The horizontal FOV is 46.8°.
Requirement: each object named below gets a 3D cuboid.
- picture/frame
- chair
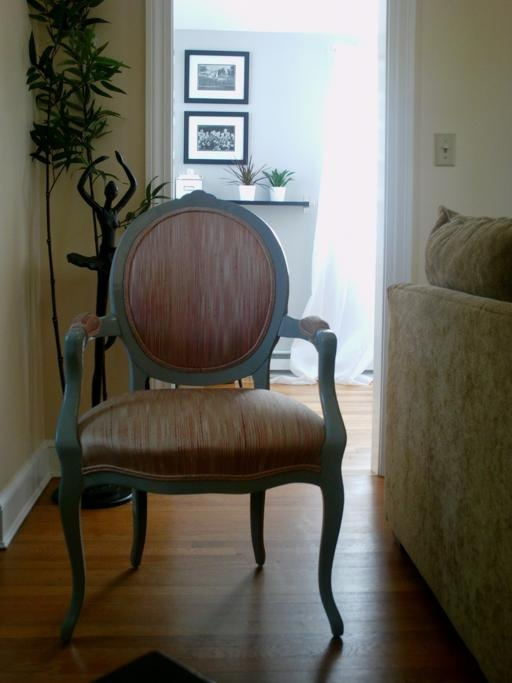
[{"bbox_3d":[-0.281,-1.627,4.018,0.469,1.110,0.023,0,10,-4],"label":"picture/frame"},{"bbox_3d":[-0.100,0.107,1.214,0.582,0.893,0.489,0,3,-10],"label":"chair"}]
